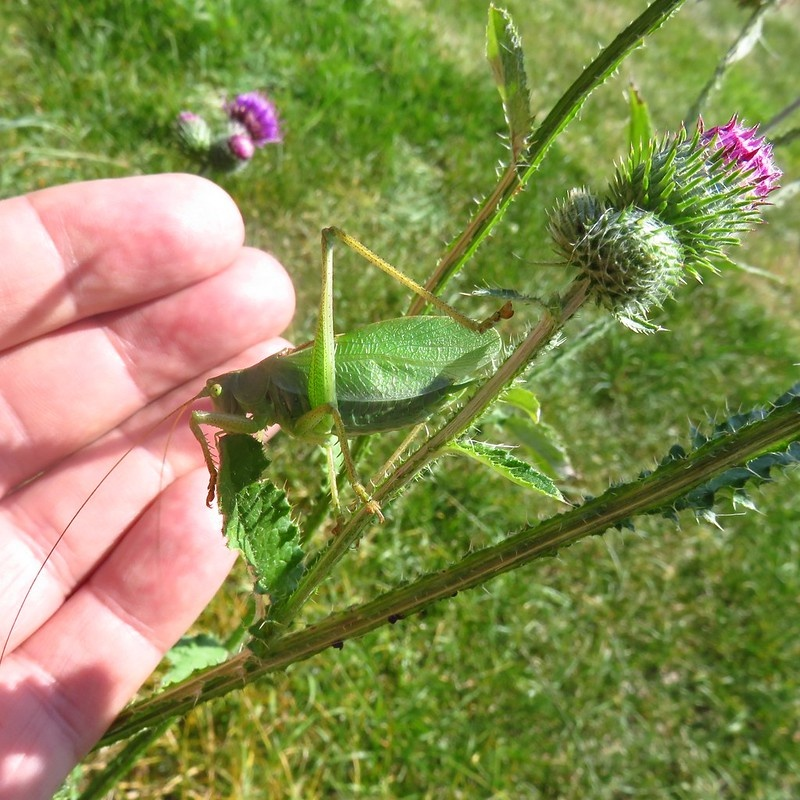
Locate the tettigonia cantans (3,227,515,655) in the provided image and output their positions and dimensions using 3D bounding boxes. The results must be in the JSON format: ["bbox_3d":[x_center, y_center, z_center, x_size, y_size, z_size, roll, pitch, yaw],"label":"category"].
[{"bbox_3d":[-0.320,0.120,2.395,1.206,0.622,0.623,-14,56,3],"label":"tettigonia cantans"}]

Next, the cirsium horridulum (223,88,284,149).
[{"bbox_3d":[-0.574,-1.122,3.395,0.247,0.142,0.188,21,72,8],"label":"cirsium horridulum"}]
